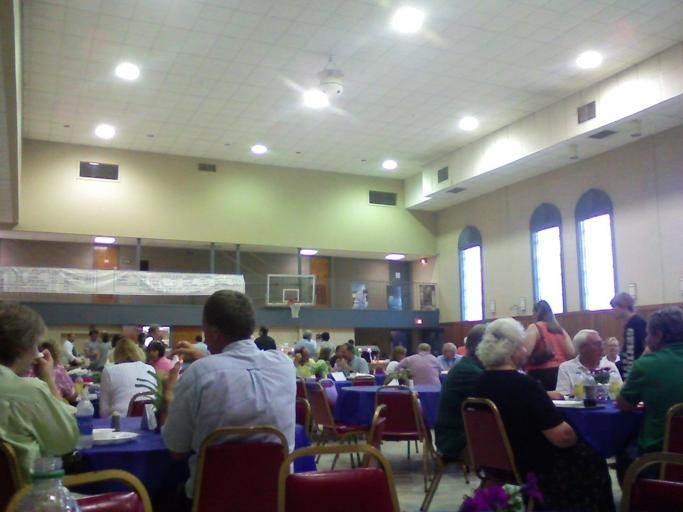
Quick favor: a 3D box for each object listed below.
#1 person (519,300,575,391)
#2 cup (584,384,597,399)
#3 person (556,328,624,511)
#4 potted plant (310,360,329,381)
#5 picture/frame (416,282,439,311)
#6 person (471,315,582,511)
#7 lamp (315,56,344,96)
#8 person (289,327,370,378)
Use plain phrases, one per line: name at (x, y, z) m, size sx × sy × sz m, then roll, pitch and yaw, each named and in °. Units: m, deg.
person at (2.225, 1.226, 6.423) m, size 0.521 × 1.431 × 0.443 m, roll 0°, pitch 4°, yaw -25°
cup at (1.980, 1.082, 4.631) m, size 0.098 × 0.116 × 0.246 m, roll -3°, pitch -7°, yaw 24°
person at (2.288, 1.288, 5.356) m, size 0.649 × 1.168 × 0.573 m, roll -1°, pitch -2°, yaw -10°
potted plant at (-0.318, 1.647, 8.347) m, size 0.238 × 0.246 × 0.244 m, roll 2°, pitch -9°, yaw -13°
picture/frame at (2.573, 1.221, 17.320) m, size 0.621 × 0.789 × 0.150 m, roll 3°, pitch -7°, yaw -29°
person at (1.185, 0.983, 3.800) m, size 0.635 × 1.142 × 0.330 m, roll -3°, pitch -6°, yaw 24°
lamp at (-0.196, -3.268, 10.845) m, size 0.371 × 0.392 × 0.385 m, roll 0°, pitch -9°, yaw -6°
person at (-0.228, 1.716, 9.793) m, size 1.237 × 0.488 × 0.931 m, roll 2°, pitch -2°, yaw 12°
